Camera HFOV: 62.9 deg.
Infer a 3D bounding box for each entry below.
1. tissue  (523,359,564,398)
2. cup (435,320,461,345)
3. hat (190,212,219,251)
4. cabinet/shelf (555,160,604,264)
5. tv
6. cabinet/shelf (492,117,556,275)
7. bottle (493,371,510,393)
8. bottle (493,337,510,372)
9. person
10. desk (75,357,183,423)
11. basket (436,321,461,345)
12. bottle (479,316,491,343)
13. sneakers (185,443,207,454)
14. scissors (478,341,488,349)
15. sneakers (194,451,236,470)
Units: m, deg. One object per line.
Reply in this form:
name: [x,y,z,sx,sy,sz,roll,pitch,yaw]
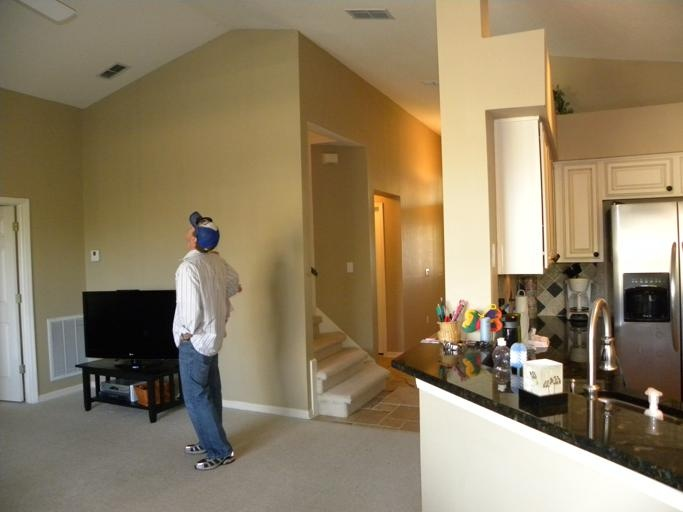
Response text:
tissue : [1.042,0.626,2.913,0.173,0.181,0.174,0,-2,-22]
cup: [0.771,0.562,4.083,0.162,0.153,0.172,-1,-5,0]
hat: [-1.159,-0.190,4.771,0.173,0.356,0.225,-3,11,42]
cabinet/shelf: [2.433,-0.421,5.650,0.093,1.028,0.368,-16,14,-35]
tv: [-2.225,0.788,5.960,0.899,0.673,0.265,0,2,17]
cabinet/shelf: [1.373,-0.464,4.261,0.358,1.165,1.219,-2,3,16]
bottle: [0.916,0.713,3.154,0.086,0.140,0.088,-1,-7,0]
bottle: [0.942,0.556,3.271,0.091,0.198,0.183,1,9,18]
person: [-1.151,0.700,4.746,0.503,2.107,0.578,-6,10,-27]
desk: [-2.244,1.395,6.001,1.109,0.541,0.517,3,10,27]
basket: [0.784,0.561,4.055,0.157,0.132,0.167,0,-7,-3]
bottle: [1.041,0.534,4.018,0.076,0.184,0.050,0,9,11]
sneakers: [-1.292,1.703,4.929,0.135,0.052,0.081,1,3,10]
scissors: [1.019,0.642,3.996,0.044,0.043,0.047,0,1,-6]
sneakers: [-1.045,1.698,4.662,0.286,0.136,0.123,3,-2,-25]
